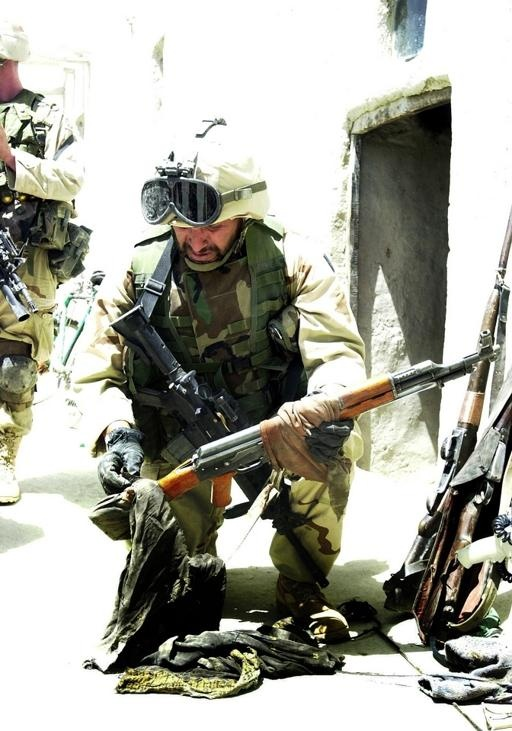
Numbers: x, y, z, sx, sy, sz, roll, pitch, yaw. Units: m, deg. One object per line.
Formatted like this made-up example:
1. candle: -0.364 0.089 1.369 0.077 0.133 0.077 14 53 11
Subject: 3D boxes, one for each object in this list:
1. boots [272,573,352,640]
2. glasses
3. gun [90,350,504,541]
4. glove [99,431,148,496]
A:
1. boots: 0.175 0.795 2.283 0.100 0.110 0.275 -11 5 -24
2. glasses: -0.237 -0.516 2.175 0.213 0.091 0.214 9 2 22
3. gun: 0.109 0.288 2.386 1.475 0.496 0.112 -23 52 -7
4. glove: -0.392 0.305 2.164 0.131 0.097 0.224 -21 28 23
